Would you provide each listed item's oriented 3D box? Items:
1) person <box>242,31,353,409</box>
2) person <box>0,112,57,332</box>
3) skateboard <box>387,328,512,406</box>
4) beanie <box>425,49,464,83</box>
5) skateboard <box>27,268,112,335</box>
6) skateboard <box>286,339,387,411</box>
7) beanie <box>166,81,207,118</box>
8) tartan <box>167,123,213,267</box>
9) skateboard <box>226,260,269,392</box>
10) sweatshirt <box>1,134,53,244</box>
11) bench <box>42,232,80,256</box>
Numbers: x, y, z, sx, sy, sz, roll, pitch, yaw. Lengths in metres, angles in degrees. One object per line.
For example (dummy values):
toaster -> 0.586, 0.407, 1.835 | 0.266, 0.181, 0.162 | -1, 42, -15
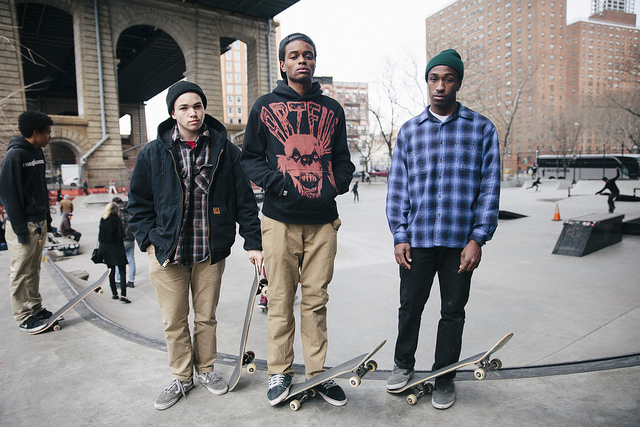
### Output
person -> -0.263, 0.038, 5.656 | 1.209, 4.147, 0.942 | -1, 11, -9
person -> -4.122, 0.090, 6.934 | 0.729, 3.002, 0.849 | -6, 13, -29
skateboard -> 1.554, 1.847, 5.847 | 1.225, 0.252, 0.336 | -29, -4, 11
beanie -> 1.493, -1.746, 5.671 | 0.393, 0.344, 0.388 | 11, -4, -29
skateboard -> -3.551, 1.301, 7.026 | 1.330, 0.222, 0.305 | -43, 25, -24
skateboard -> 0.293, 1.857, 5.482 | 1.633, 0.295, 0.485 | -33, -2, 19
beanie -> -1.633, -1.470, 5.904 | 0.282, 0.232, 0.335 | -17, 5, 39
tartan -> -1.536, -0.228, 5.785 | 0.512, 1.555, 0.511 | -2, 11, -12
skateboard -> -0.821, 1.432, 5.815 | 0.244, 1.831, 0.432 | 9, 7, -14
sweatshirt -> -4.205, -0.363, 6.954 | 0.436, 1.486, 0.651 | 3, 11, 11
bench -> -7.381, 0.829, 13.576 | 1.137, 0.296, 0.842 | 13, 3, -2
